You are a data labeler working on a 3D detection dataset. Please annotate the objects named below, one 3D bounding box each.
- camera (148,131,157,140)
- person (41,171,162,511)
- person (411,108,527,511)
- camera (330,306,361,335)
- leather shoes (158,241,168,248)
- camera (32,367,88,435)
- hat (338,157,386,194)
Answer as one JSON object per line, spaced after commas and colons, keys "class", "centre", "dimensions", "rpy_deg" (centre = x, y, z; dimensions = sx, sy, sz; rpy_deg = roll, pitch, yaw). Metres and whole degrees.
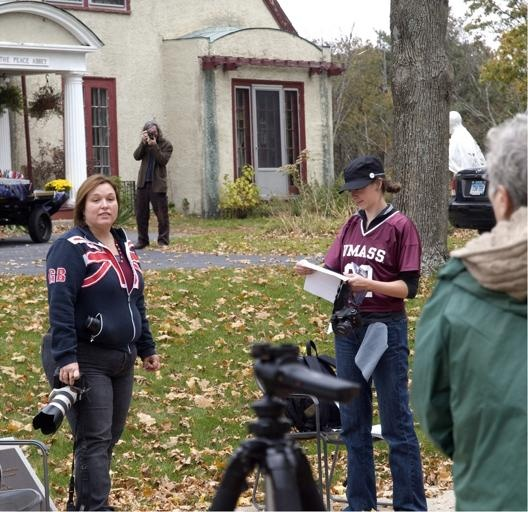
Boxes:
{"class": "camera", "centre": [-1.550, -1.675, 13.868], "dimensions": [0.089, 0.106, 0.102], "rpy_deg": [19, 3, -5]}
{"class": "person", "centre": [-0.935, 0.478, 5.588], "dimensions": [0.552, 1.757, 0.826], "rpy_deg": [3, 11, 4]}
{"class": "person", "centre": [0.782, 0.381, 3.681], "dimensions": [0.200, 1.145, 0.509], "rpy_deg": [-7, 15, -38]}
{"class": "camera", "centre": [0.462, 0.370, 5.648], "dimensions": [0.137, 0.146, 0.153], "rpy_deg": [-8, 43, 28]}
{"class": "leather shoes", "centre": [-1.496, -0.166, 14.810], "dimensions": [0.062, 0.111, 0.147], "rpy_deg": [1, 1, -28]}
{"class": "camera", "centre": [-1.061, 0.767, 5.215], "dimensions": [0.139, 0.217, 0.466], "rpy_deg": [0, 19, 11]}
{"class": "hat", "centre": [0.551, -0.445, 5.620], "dimensions": [0.230, 0.218, 0.341], "rpy_deg": [4, 13, 7]}
